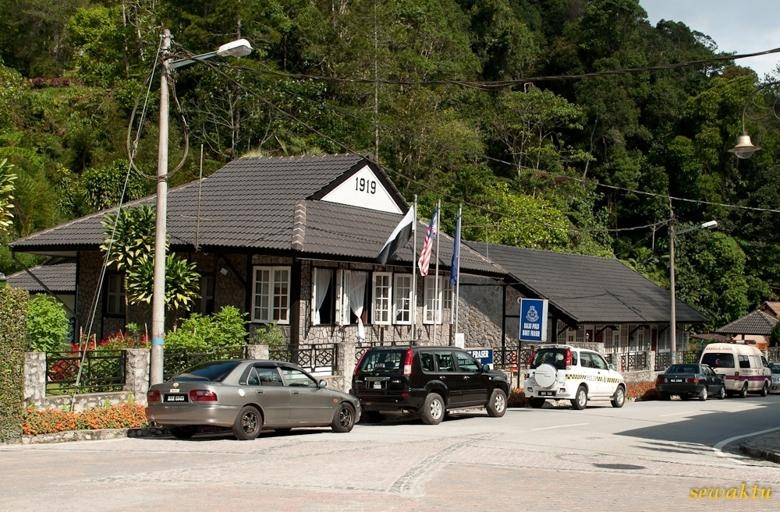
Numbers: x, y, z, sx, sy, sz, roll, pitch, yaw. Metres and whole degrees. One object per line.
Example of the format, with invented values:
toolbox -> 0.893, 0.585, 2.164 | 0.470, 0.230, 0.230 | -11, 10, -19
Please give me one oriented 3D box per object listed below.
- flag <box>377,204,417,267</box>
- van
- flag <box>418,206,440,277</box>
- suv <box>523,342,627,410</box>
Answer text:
flag -> 0.602, -0.992, 60.107 | 0.629, 4.778, 1.533 | 5, -47, 26
van -> 21.154, 6.965, 71.807 | 2.496, 3.007, 5.239 | -3, -4, 33
flag -> 2.082, -0.717, 64.314 | 1.017, 0.943, 5.019 | 8, 29, 7
suv -> 9.502, 6.266, 60.416 | 2.461, 3.173, 6.233 | -3, -5, 43
